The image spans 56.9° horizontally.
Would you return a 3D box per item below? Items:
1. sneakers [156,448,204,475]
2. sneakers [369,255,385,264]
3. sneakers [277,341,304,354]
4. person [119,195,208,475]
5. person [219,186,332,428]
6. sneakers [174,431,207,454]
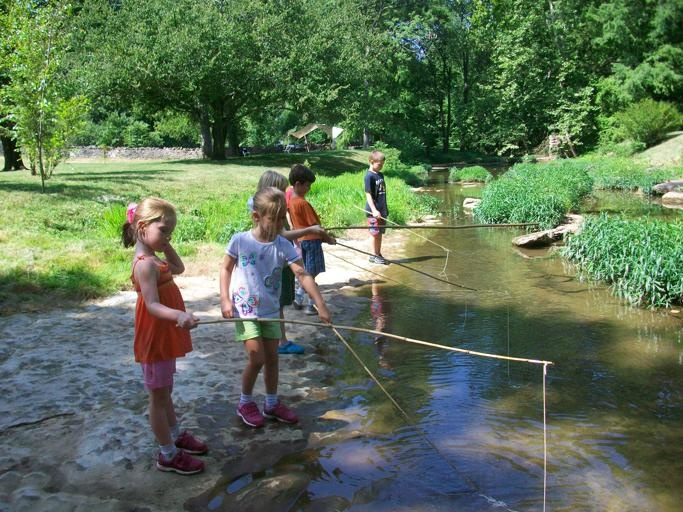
[{"bbox_3d":[-1.464,1.880,5.787,0.419,0.196,0.198,4,6,-2],"label":"sneakers"},{"bbox_3d":[0.695,0.064,11.617,0.340,0.151,0.126,3,7,13],"label":"sneakers"},{"bbox_3d":[-0.623,1.127,7.755,0.270,0.128,0.141,-1,7,-1],"label":"sneakers"},{"bbox_3d":[-1.608,0.729,5.767,0.574,2.497,0.749,-6,8,-19],"label":"person"},{"bbox_3d":[-0.718,0.526,6.260,0.921,2.369,0.512,-4,8,-11],"label":"person"},{"bbox_3d":[-1.426,1.770,6.019,0.339,0.142,0.146,26,3,-9],"label":"sneakers"}]
